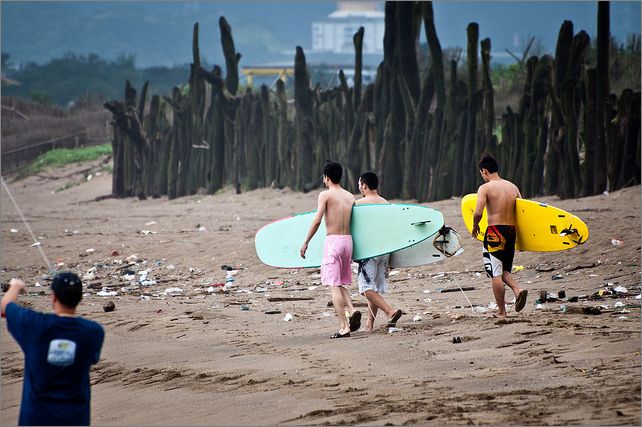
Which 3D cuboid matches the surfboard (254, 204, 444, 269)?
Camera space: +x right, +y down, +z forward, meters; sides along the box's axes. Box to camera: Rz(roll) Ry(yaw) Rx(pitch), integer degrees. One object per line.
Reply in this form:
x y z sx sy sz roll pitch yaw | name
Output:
1.260 0.931 48.402 10.006 3.292 1.122 -8 -5 0 | surfboard

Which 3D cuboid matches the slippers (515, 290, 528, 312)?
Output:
8.665 3.765 47.911 0.372 1.011 0.347 8 10 -12 | slippers

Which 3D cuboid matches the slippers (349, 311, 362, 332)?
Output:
1.485 4.630 48.112 0.495 0.897 0.351 -1 6 1 | slippers
